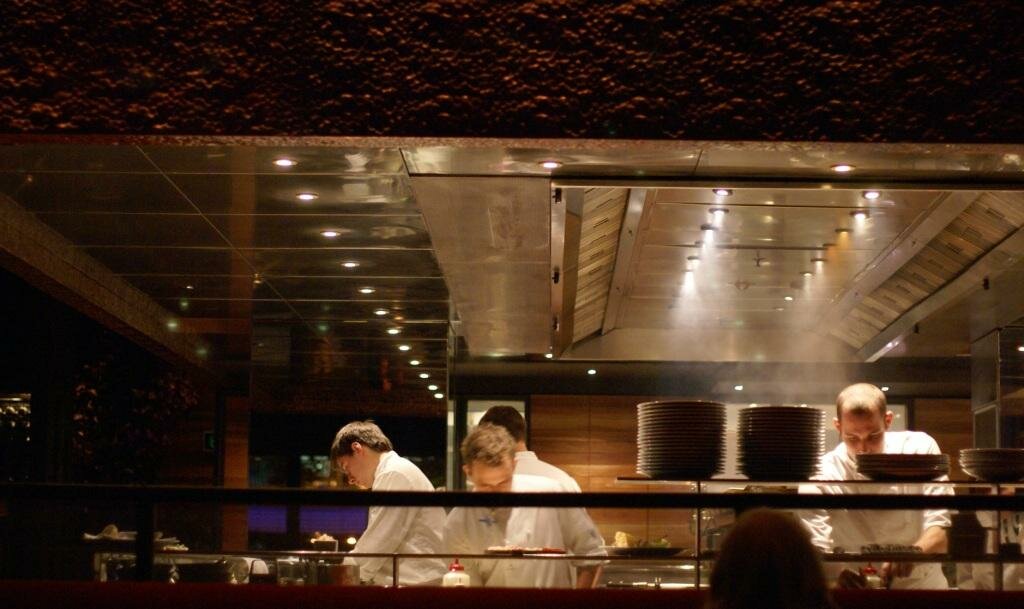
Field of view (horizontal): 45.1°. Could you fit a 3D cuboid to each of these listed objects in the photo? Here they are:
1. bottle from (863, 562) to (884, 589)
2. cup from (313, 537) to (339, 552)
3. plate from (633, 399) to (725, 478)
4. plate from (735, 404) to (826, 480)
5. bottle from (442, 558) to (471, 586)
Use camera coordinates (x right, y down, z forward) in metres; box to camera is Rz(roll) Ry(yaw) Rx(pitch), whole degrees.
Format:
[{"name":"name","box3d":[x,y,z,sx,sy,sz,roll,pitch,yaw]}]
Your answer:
[{"name":"bottle","box3d":[0.944,0.700,3.209,0.051,0.061,0.029,-3,-18,10]},{"name":"cup","box3d":[-0.611,0.786,4.065,0.112,0.031,0.091,0,-9,6]},{"name":"plate","box3d":[0.505,0.409,3.736,0.323,0.163,0.256,1,-13,0]},{"name":"plate","box3d":[0.786,0.410,3.633,0.303,0.142,0.242,1,-10,-2]},{"name":"bottle","box3d":[-0.141,0.704,3.251,0.069,0.067,0.018,7,-19,-22]}]
